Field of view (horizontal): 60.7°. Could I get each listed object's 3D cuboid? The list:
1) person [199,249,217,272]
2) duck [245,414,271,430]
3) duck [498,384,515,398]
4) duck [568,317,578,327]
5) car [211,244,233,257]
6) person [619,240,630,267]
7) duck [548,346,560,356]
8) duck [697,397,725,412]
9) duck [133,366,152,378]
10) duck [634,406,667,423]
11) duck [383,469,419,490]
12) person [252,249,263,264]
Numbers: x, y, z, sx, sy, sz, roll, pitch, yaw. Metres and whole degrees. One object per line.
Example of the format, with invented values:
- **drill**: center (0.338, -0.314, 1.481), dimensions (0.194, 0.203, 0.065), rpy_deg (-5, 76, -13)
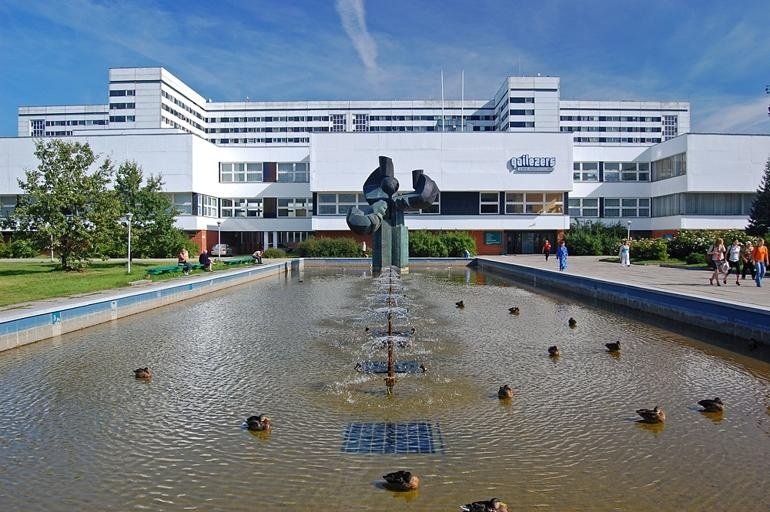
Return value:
- **person**: center (-8.802, 0.263, 32.214), dimensions (0.602, 1.038, 2.278), rpy_deg (-4, 11, -16)
- **duck**: center (-2.283, 2.924, 11.618), dimensions (0.517, 0.259, 0.273), rpy_deg (1, 11, 7)
- **duck**: center (2.367, 2.628, 12.789), dimensions (0.192, 0.193, 0.535), rpy_deg (1, -8, 9)
- **duck**: center (5.257, 1.870, 18.396), dimensions (0.207, 0.224, 0.364), rpy_deg (-3, -8, 7)
- **car**: center (-13.571, -0.479, 54.076), dimensions (1.250, 0.742, 2.436), rpy_deg (-1, -2, -8)
- **person**: center (11.943, -0.074, 32.563), dimensions (0.392, 1.230, 1.063), rpy_deg (4, 12, 21)
- **duck**: center (3.961, 2.203, 15.332), dimensions (0.204, 0.159, 0.261), rpy_deg (3, 3, 20)
- **duck**: center (6.094, 2.765, 12.304), dimensions (0.250, 0.246, 0.393), rpy_deg (-3, -4, -15)
- **duck**: center (-5.108, 2.442, 13.800), dimensions (0.349, 0.191, 0.313), rpy_deg (-4, 11, -17)
- **duck**: center (4.814, 2.853, 11.916), dimensions (0.488, 0.273, 0.256), rpy_deg (-1, 1, 14)
- **duck**: center (0.281, 3.497, 10.280), dimensions (0.428, 0.161, 0.297), rpy_deg (4, -2, -26)
- **person**: center (-7.946, 0.017, 40.856), dimensions (0.964, 0.703, 1.261), rpy_deg (2, 3, -10)
